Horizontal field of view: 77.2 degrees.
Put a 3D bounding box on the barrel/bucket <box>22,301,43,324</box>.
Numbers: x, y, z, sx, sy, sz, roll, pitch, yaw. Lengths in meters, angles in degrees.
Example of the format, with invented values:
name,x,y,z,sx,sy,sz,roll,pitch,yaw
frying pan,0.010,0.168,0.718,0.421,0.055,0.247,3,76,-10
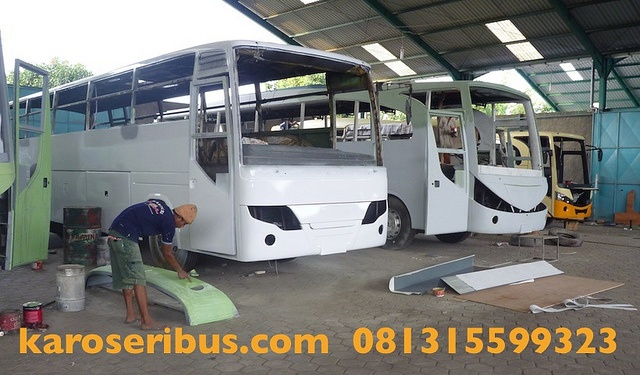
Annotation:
name,x,y,z,sx,sy,sz,roll,pitch,yaw
barrel/bucket,-4.788,2.079,6.675,0.282,0.322,0.261,1,7,0

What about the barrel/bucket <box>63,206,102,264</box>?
name,x,y,z,sx,sy,sz,roll,pitch,yaw
barrel/bucket,-5.891,1.163,10.021,0.899,1.247,0.921,0,-3,0

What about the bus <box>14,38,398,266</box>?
name,x,y,z,sx,sy,sz,roll,pitch,yaw
bus,-2.563,-0.791,9.927,8.125,4.702,3.364,5,8,29

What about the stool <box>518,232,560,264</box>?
name,x,y,z,sx,sy,sz,roll,pitch,yaw
stool,6.585,1.722,11.871,1.131,0.931,1.216,4,7,44

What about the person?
name,x,y,z,sx,sy,sz,roll,pitch,yaw
person,-2.999,1.273,6.785,1.054,2.061,0.684,2,6,7

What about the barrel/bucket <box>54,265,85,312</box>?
name,x,y,z,sx,sy,sz,roll,pitch,yaw
barrel/bucket,-4.512,1.818,7.251,0.451,0.804,0.277,-1,7,-21
